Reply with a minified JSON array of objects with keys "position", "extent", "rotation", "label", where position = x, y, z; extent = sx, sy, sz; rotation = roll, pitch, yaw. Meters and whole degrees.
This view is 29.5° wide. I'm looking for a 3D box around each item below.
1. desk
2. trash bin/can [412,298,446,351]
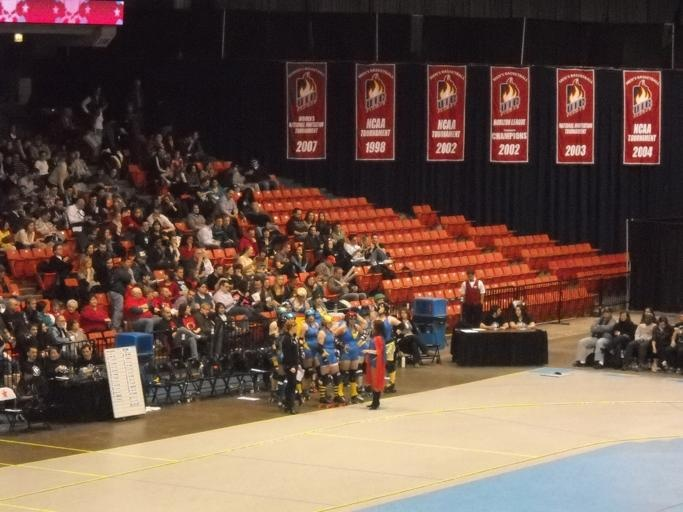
[{"position":[4.479,2.515,36.677],"extent":[2.036,0.846,1.185],"rotation":[-1,7,-3],"label":"desk"},{"position":[2.528,1.947,36.906],"extent":[0.882,1.513,0.774],"rotation":[-5,9,-30],"label":"trash bin/can"}]
